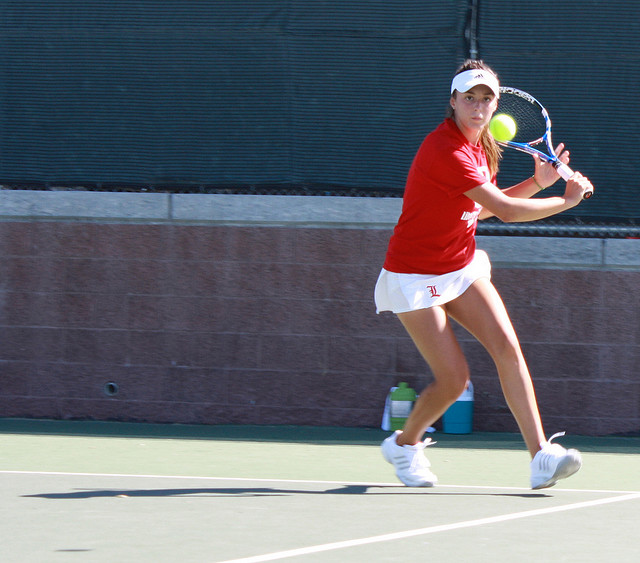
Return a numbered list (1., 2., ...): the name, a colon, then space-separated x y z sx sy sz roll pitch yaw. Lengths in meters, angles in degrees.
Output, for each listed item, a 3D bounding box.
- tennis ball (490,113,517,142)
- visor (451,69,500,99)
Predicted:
1. tennis ball: 1.183 -0.995 7.888 0.167 0.167 0.227 5 11 6
2. visor: 0.949 -1.207 7.375 0.285 0.153 0.192 4 11 4
